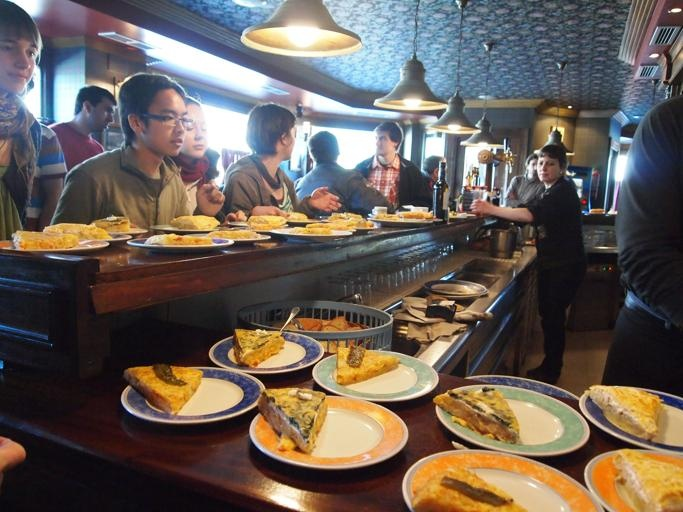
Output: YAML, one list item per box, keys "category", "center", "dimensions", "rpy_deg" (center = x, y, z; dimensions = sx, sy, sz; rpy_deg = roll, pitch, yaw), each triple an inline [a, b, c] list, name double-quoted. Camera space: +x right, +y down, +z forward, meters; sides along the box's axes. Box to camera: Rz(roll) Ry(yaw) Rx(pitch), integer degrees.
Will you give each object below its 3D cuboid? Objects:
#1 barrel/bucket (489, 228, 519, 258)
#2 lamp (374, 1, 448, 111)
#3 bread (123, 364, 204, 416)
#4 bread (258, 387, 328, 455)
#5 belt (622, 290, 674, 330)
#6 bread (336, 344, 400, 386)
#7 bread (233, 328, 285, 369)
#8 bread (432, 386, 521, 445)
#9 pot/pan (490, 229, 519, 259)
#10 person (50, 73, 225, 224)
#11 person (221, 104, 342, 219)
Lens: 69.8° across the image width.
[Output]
- category: "barrel/bucket"
  center: [1.426, -0.107, 4.149]
  dimensions: [0.213, 0.213, 0.259]
  rpy_deg: [-1, 5, -22]
- category: "lamp"
  center: [0.526, -1.343, 3.684]
  dimensions: [0.530, 0.432, 0.611]
  rpy_deg: [3, 11, 9]
- category: "bread"
  center: [-0.447, 0.313, 1.200]
  dimensions: [0.115, 0.032, 0.150]
  rpy_deg: [10, 6, 0]
- category: "bread"
  center: [-0.110, 0.366, 1.110]
  dimensions: [0.124, 0.041, 0.129]
  rpy_deg: [2, 16, -7]
- category: "belt"
  center: [1.170, 0.209, 1.882]
  dimensions: [0.123, 0.108, 0.112]
  rpy_deg: [-21, -10, -20]
- category: "bread"
  center: [0.060, 0.306, 1.373]
  dimensions: [0.128, 0.029, 0.109]
  rpy_deg: [-2, 14, -20]
- category: "bread"
  center: [-0.248, 0.257, 1.411]
  dimensions: [0.113, 0.031, 0.114]
  rpy_deg: [16, 20, 35]
- category: "bread"
  center: [0.338, 0.376, 1.175]
  dimensions: [0.141, 0.028, 0.109]
  rpy_deg: [-4, 16, -30]
- category: "pot/pan"
  center: [1.380, -0.104, 4.130]
  dimensions: [0.215, 0.214, 0.260]
  rpy_deg: [0, 5, -14]
- category: "person"
  center: [-1.053, -0.501, 2.367]
  dimensions: [0.590, 0.734, 0.439]
  rpy_deg: [-2, 12, -15]
- category: "person"
  center: [-0.430, -0.589, 3.052]
  dimensions: [0.591, 0.735, 0.977]
  rpy_deg: [7, 12, 25]
